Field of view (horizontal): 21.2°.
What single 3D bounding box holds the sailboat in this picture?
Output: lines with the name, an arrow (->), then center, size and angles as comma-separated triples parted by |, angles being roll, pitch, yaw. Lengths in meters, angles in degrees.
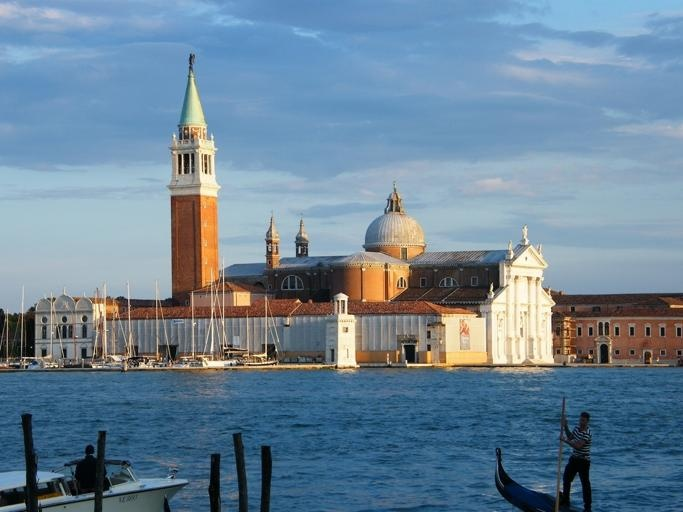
sailboat -> -18.116, 6.438, 170.321 | 22.803, 7.342, 9.802 | -5, -7, 30
